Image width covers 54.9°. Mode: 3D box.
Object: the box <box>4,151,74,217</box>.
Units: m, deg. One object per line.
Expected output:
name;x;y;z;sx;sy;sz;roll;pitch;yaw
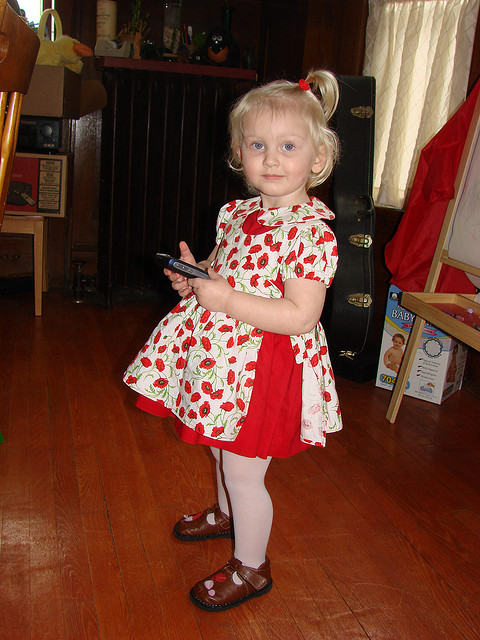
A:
box;-1.191;-0.757;2.763;0.325;0.472;0.299;-5;23;-18

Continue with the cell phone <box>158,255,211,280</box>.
cell phone;-0.088;-0.083;0.718;0.066;0.019;0.039;21;10;-19

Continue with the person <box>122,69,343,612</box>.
person;-0.003;0.050;0.876;0.332;0.945;0.324;0;14;-10

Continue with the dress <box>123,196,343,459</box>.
dress;-0.002;0.000;0.862;0.396;0.446;0.307;22;20;39
